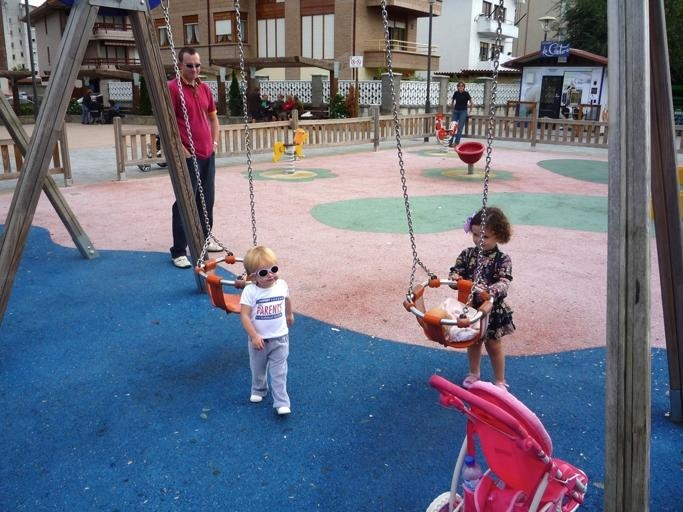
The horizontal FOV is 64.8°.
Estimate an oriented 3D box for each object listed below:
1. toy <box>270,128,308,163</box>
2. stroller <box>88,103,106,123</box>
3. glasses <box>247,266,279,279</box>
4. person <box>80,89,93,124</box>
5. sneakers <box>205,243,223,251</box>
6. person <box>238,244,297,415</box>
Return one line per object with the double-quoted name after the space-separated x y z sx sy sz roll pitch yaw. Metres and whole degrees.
-1.139 -2.503 12.172 0.859 0.670 0.298 -5 1 18 "toy"
-13.217 -7.751 29.100 0.927 1.508 0.970 -3 21 -21 "stroller"
-0.447 0.092 3.096 0.097 0.031 0.095 -4 10 44 "glasses"
-13.738 -8.012 29.112 0.644 1.543 1.801 -9 19 -23 "person"
-1.295 -0.095 5.463 0.200 0.083 0.073 -2 30 -7 "sneakers"
-0.439 0.424 3.214 0.290 0.996 0.419 -3 17 -6 "person"
